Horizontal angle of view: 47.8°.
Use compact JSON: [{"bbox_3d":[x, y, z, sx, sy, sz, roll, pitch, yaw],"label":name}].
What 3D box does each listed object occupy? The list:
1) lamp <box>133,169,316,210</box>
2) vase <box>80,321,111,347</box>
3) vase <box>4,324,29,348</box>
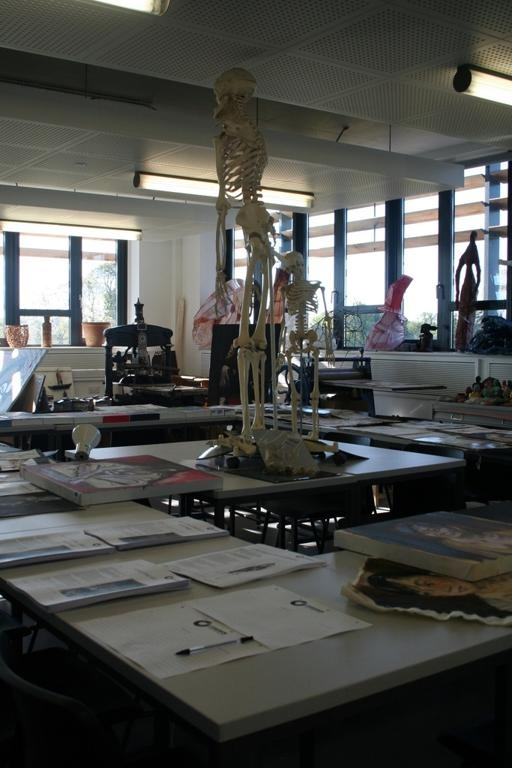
[{"bbox_3d":[-0.263,-1.666,4.915,1.419,0.111,0.214,4,-26,-19],"label":"lamp"},{"bbox_3d":[-2.811,-0.854,9.939,0.569,0.411,0.255,4,6,34],"label":"vase"},{"bbox_3d":[-3.757,-0.713,9.092,0.398,0.457,0.449,0,1,-5],"label":"vase"}]
